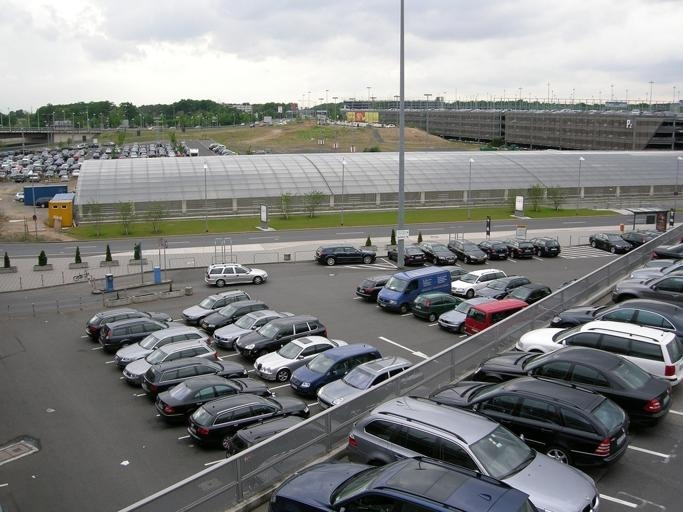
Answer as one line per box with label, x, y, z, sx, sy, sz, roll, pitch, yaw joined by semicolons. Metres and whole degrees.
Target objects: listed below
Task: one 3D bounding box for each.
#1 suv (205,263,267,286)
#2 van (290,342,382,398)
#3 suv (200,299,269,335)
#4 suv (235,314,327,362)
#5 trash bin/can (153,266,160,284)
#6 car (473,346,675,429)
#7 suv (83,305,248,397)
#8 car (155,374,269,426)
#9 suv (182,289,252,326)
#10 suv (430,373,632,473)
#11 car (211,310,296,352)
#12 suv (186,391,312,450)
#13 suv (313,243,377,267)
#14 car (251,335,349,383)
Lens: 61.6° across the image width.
suv;-7.234;1.304;40.066;3.752;0.937;1.702;-4;14;-13
van;-0.088;4.483;22.778;3.626;1.098;1.725;-8;12;-25
suv;-5.722;3.225;30.264;3.582;0.997;1.483;-8;14;-30
suv;-2.464;3.770;26.842;4.427;1.072;1.784;-6;12;-24
trash bin/can;-12.554;1.342;39.351;0.395;1.084;0.781;-10;17;-24
car;6.431;3.147;15.977;4.971;1.220;2.210;9;15;31
suv;-7.413;4.406;24.641;3.952;1.517;3.895;-5;14;-19
car;-4.516;5.158;20.614;4.174;0.987;1.649;-8;16;-26
suv;-6.670;2.797;32.193;4.010;1.018;1.642;-10;16;-27
suv;4.872;3.783;14.245;4.820;1.175;1.962;12;19;32
car;-4.563;3.675;28.283;4.159;0.927;1.710;-8;12;-32
suv;-2.699;5.281;19.107;4.256;0.991;1.500;-7;18;-22
suv;0.421;-0.059;46.185;4.558;1.019;1.742;-3;13;-9
car;-1.530;4.356;24.686;4.074;0.955;1.656;-7;13;-26
